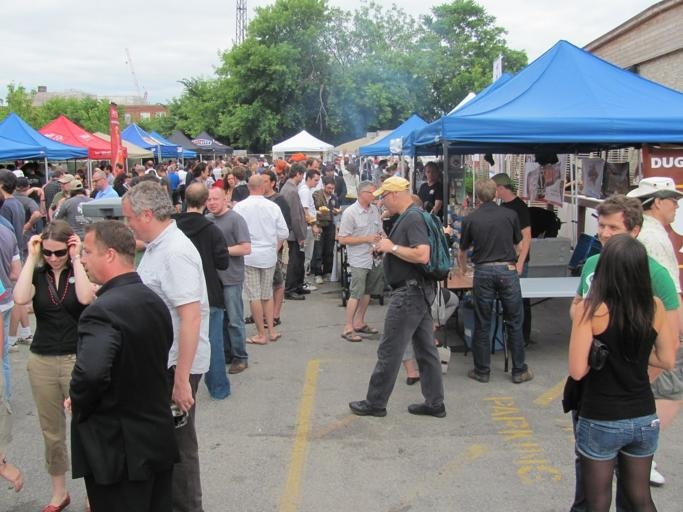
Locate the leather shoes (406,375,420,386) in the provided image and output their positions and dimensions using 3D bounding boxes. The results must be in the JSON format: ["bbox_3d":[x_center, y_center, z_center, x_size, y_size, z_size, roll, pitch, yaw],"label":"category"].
[{"bbox_3d":[0.779,1.340,7.419,0.199,0.080,0.069,-8,8,-33],"label":"leather shoes"}]

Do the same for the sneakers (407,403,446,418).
[{"bbox_3d":[0.833,1.478,6.658,0.352,0.136,0.138,4,2,15],"label":"sneakers"}]

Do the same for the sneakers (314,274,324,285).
[{"bbox_3d":[-0.401,0.417,12.645,0.152,0.170,0.431,-1,-3,-7],"label":"sneakers"}]

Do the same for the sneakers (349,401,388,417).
[{"bbox_3d":[0.267,1.472,6.608,0.348,0.155,0.146,8,2,6],"label":"sneakers"}]

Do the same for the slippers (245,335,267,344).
[{"bbox_3d":[-1.077,1.058,8.740,0.226,0.149,0.104,4,1,9],"label":"slippers"}]

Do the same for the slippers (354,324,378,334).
[{"bbox_3d":[0.341,0.956,9.123,0.261,0.099,0.126,1,2,4],"label":"slippers"}]

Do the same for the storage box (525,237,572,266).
[{"bbox_3d":[3.025,-0.074,9.913,0.676,0.416,0.362,1,11,5],"label":"storage box"}]

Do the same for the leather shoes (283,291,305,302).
[{"bbox_3d":[-0.756,0.649,11.224,0.360,0.137,0.123,1,3,21],"label":"leather shoes"}]

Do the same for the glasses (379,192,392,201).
[{"bbox_3d":[0.421,-0.593,6.657,0.098,0.097,0.030,-10,36,-45],"label":"glasses"}]

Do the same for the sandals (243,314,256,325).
[{"bbox_3d":[-1.293,0.891,9.834,0.101,0.129,0.336,-1,-8,5],"label":"sandals"}]

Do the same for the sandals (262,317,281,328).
[{"bbox_3d":[-0.925,0.918,9.514,0.099,0.099,0.259,-2,-5,31],"label":"sandals"}]

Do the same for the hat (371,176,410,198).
[{"bbox_3d":[0.490,-0.677,6.626,0.283,0.142,0.187,-2,8,18],"label":"hat"}]

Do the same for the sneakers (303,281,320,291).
[{"bbox_3d":[-0.548,0.533,11.952,0.101,0.117,0.297,-7,6,-39],"label":"sneakers"}]

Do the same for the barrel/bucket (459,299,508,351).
[{"bbox_3d":[1.636,0.764,7.766,0.568,0.754,0.445,-1,29,14],"label":"barrel/bucket"}]

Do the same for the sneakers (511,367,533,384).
[{"bbox_3d":[1.977,1.265,7.428,0.270,0.120,0.098,-19,20,-31],"label":"sneakers"}]

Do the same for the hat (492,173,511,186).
[{"bbox_3d":[1.957,-0.937,8.291,0.234,0.122,0.164,-13,16,-36],"label":"hat"}]

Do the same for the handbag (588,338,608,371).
[{"bbox_3d":[1.552,0.582,4.150,0.066,0.135,0.178,4,6,-8],"label":"handbag"}]
